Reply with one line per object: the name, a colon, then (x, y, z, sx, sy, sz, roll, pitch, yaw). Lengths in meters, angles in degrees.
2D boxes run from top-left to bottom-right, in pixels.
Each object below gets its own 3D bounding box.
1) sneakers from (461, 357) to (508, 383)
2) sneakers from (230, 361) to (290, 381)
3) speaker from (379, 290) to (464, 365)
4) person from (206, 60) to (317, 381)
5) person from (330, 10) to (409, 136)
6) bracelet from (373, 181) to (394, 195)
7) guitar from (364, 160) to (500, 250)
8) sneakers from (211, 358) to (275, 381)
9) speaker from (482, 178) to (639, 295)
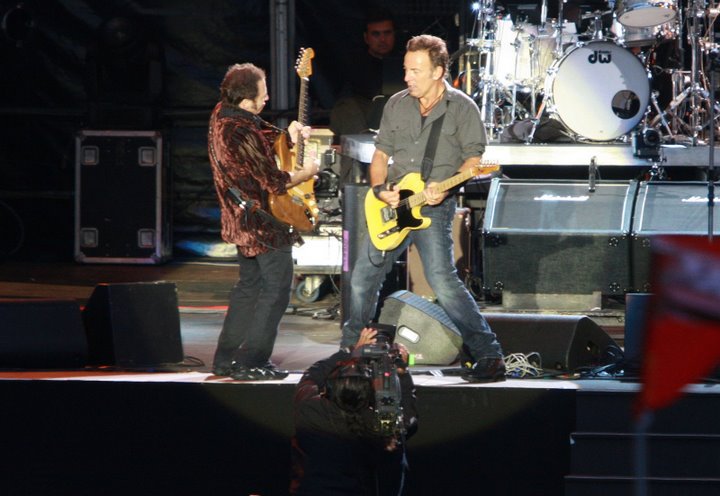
sneakers: (0.880, 0.890, 8.185, 0.344, 0.180, 0.246, 6, 6, 39)
sneakers: (-0.762, 0.916, 8.247, 0.429, 0.126, 0.152, 0, 1, -16)
speaker: (0.474, 0.617, 8.407, 0.591, 0.385, 0.282, 26, 34, -9)
person: (-0.774, -0.216, 8.264, 0.828, 2.368, 0.480, 3, 6, -4)
person: (-0.012, -1.964, 12.355, 0.435, 1.444, 1.081, -5, 14, -39)
bracelet: (0.166, -0.461, 8.227, 0.060, 0.048, 0.192, 13, -15, -38)
guitar: (0.546, -0.343, 8.620, 0.879, 0.320, 0.808, -15, -11, 23)
sneakers: (-0.902, 0.917, 8.268, 0.523, 0.167, 0.151, 0, 0, -6)
speaker: (1.758, -0.112, 9.752, 1.674, 0.996, 0.976, 1, -34, 4)
